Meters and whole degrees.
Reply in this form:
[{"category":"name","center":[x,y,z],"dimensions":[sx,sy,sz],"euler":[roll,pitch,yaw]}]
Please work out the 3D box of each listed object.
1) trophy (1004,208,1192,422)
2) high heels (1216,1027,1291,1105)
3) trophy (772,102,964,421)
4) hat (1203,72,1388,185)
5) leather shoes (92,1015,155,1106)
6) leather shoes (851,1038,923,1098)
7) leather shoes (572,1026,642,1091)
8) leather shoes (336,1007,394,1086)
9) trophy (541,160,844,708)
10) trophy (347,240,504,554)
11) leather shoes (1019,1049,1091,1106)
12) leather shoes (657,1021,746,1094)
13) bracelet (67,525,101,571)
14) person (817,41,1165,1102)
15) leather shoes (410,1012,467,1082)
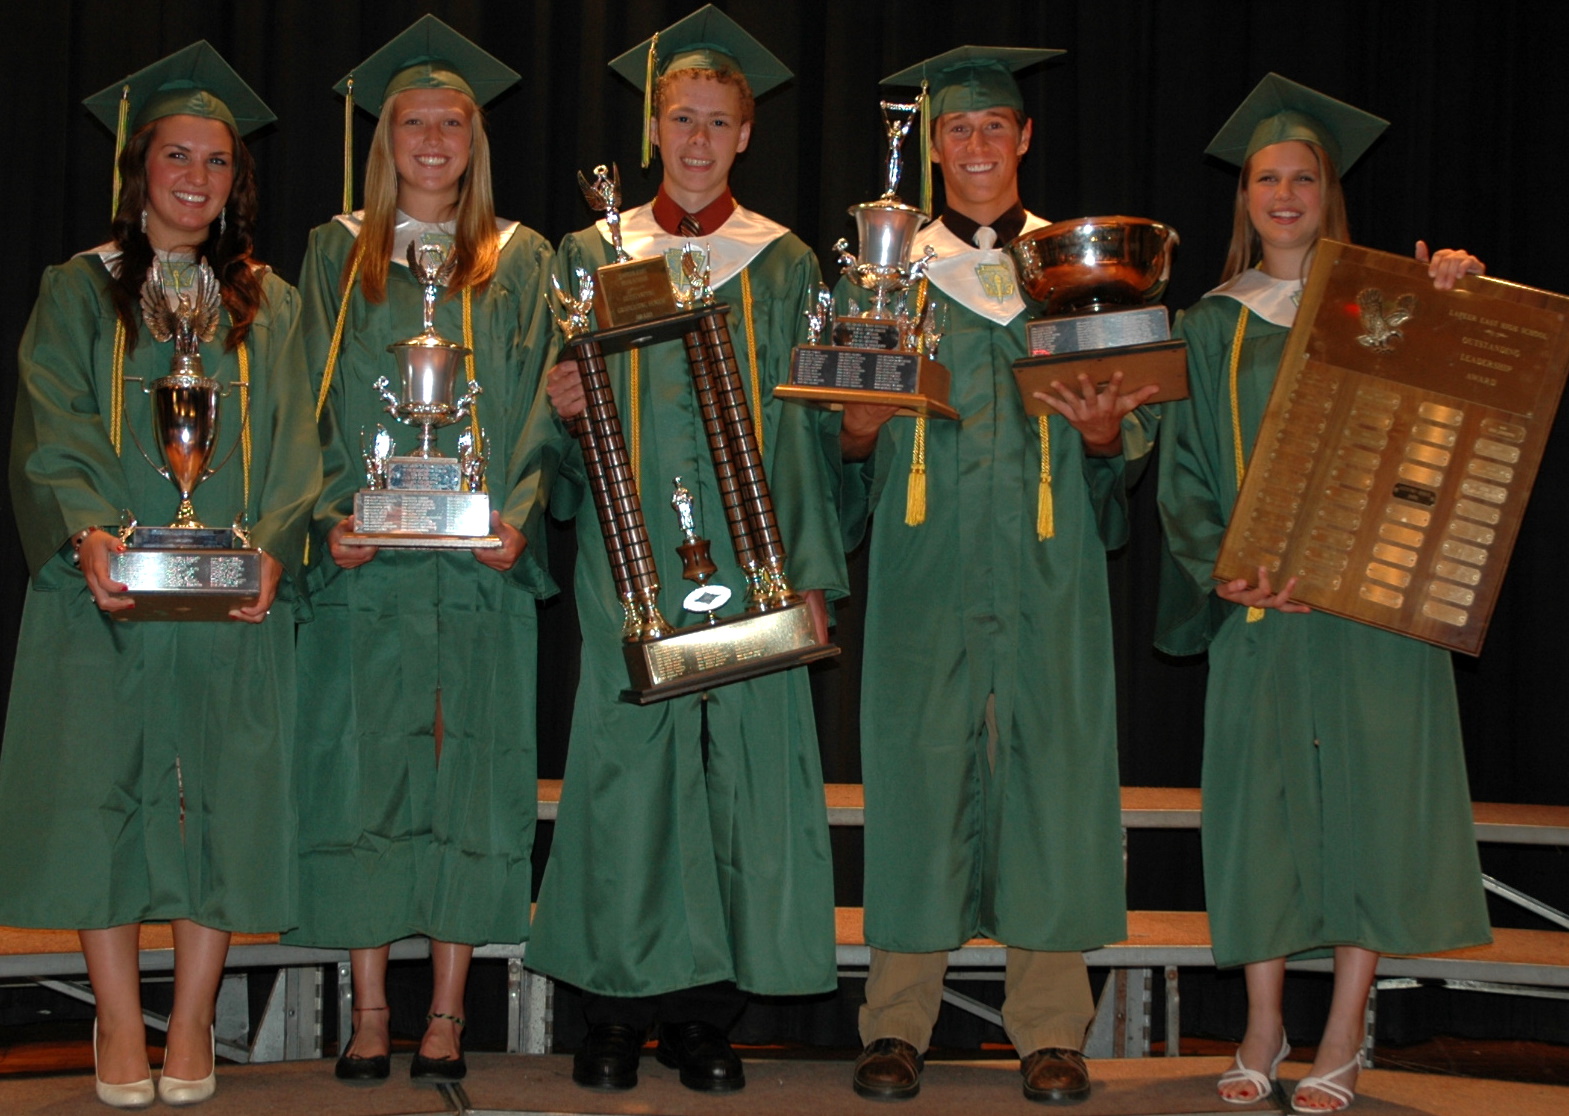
[{"category":"trophy","center":[0.807,-0.620,5.050],"dimensions":[0.469,0.371,0.431],"euler":[-3,-12,7]},{"category":"high heels","center":[1.230,1.341,5.154],"dimensions":[0.170,0.159,0.175],"euler":[0,-7,12]},{"category":"trophy","center":[0.214,-0.708,5.040],"dimensions":[0.453,0.842,0.406],"euler":[4,10,-7]},{"category":"hat","center":[1.389,-1.171,5.272],"dimensions":[0.453,0.315,0.286],"euler":[7,14,1]},{"category":"leather shoes","center":[-1.716,1.300,5.091],"dimensions":[0.100,0.107,0.286],"euler":[0,12,-36]},{"category":"leather shoes","center":[0.272,1.322,5.114],"dimensions":[0.172,0.150,0.105],"euler":[2,-7,-3]},{"category":"leather shoes","center":[-0.457,1.302,5.163],"dimensions":[0.175,0.157,0.173],"euler":[2,-7,-5]},{"category":"leather shoes","center":[-1.099,1.272,5.176],"dimensions":[0.139,0.191,0.113],"euler":[3,-7,-11]},{"category":"trophy","center":[-0.279,-0.327,5.091],"dimensions":[0.678,1.409,0.647],"euler":[-1,11,-19]},{"category":"trophy","center":[-0.903,-0.444,5.098],"dimensions":[0.370,0.851,0.256],"euler":[3,-7,-12]},{"category":"leather shoes","center":[0.705,1.339,5.116],"dimensions":[0.181,0.134,0.115],"euler":[0,-7,12]},{"category":"leather shoes","center":[-0.215,1.304,5.177],"dimensions":[0.105,0.113,0.274],"euler":[2,-3,-29]},{"category":"bracelet","center":[-1.711,-0.026,4.859],"dimensions":[0.085,0.107,0.042],"euler":[-5,-9,27]},{"category":"person","center":[0.516,0.161,5.280],"dimensions":[0.711,2.896,0.789],"euler":[4,8,5]},{"category":"leather shoes","center":[-0.875,1.279,5.201],"dimensions":[0.136,0.174,0.198],"euler":[-2,-8,28]}]
